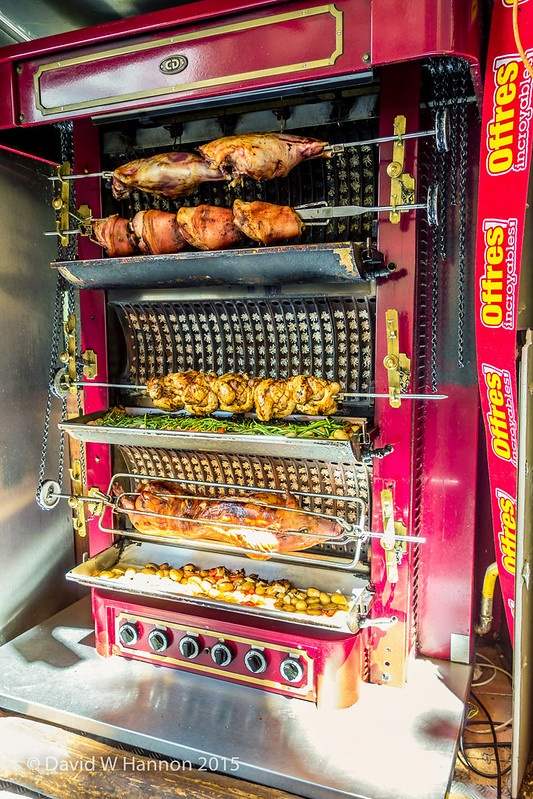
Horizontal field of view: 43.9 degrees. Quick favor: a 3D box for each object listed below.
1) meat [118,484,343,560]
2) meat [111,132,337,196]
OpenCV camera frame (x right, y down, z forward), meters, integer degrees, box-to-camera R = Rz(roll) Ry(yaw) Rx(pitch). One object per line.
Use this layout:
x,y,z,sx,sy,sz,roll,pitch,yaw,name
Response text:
-0.095,0.411,2.247,0.828,0.295,0.228,4,-91,19,meat
-0.110,-0.757,2.131,0.669,0.182,0.175,-3,-57,16,meat
